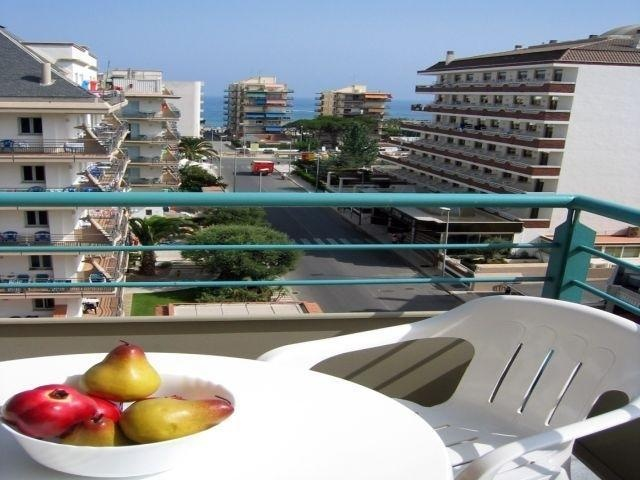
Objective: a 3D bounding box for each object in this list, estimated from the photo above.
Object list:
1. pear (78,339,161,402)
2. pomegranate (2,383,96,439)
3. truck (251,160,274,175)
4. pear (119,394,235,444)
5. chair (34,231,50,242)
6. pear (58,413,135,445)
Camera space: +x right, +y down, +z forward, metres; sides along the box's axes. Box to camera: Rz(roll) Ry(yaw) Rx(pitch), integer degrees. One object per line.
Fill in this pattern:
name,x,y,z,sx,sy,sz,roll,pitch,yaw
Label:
pear,-0.528,0.327,1.305,0.230,0.095,0.166,9,4,0
pomegranate,-0.591,0.367,1.162,0.165,0.074,0.180,19,13,40
truck,-7.169,-9.246,63.819,3.197,1.356,3.685,-2,9,-16
pear,-0.327,0.414,1.192,0.272,0.067,0.091,-7,2,5
chair,-10.238,-0.151,18.520,0.592,0.342,0.232,3,21,-5
pear,-0.496,0.416,1.115,0.139,0.070,0.055,3,-5,-17
